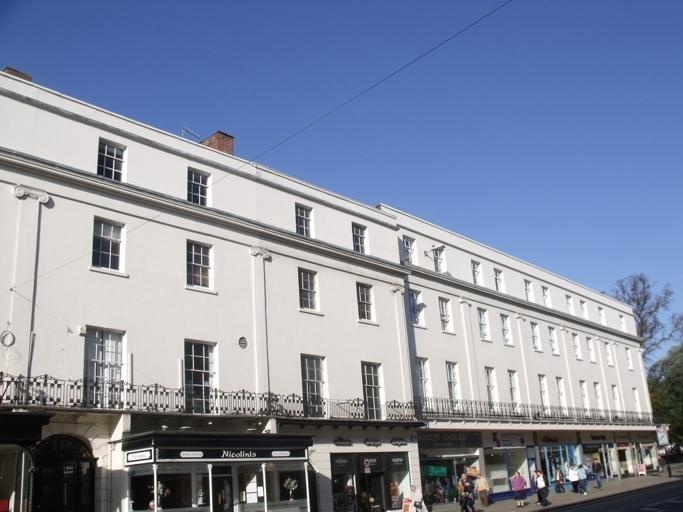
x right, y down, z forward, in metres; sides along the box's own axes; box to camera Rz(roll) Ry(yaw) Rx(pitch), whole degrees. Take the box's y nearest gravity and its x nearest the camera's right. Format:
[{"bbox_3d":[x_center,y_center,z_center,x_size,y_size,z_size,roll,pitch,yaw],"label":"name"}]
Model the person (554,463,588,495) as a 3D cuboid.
[{"bbox_3d":[13.743,12.972,37.635,0.833,1.567,1.596,-14,-25,22],"label":"person"}]
